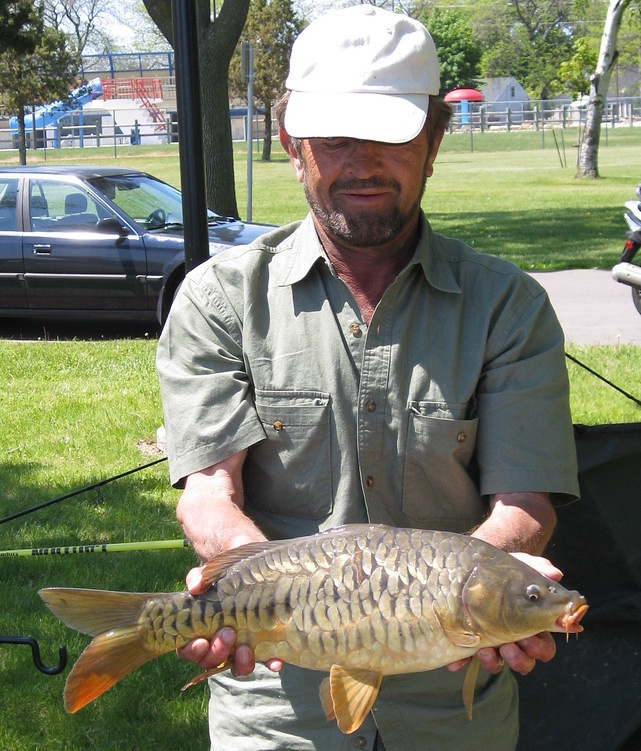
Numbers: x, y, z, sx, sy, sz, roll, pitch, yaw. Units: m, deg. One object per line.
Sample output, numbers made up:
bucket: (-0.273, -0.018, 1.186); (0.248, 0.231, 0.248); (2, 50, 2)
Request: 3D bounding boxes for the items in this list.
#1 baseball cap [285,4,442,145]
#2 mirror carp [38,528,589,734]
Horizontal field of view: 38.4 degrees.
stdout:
baseball cap: (0.086, -0.617, 1.890); (0.323, 0.273, 0.234); (0, 16, 4)
mirror carp: (0.011, 0.429, 1.496); (0.885, 0.302, 0.157); (-4, -7, 2)
